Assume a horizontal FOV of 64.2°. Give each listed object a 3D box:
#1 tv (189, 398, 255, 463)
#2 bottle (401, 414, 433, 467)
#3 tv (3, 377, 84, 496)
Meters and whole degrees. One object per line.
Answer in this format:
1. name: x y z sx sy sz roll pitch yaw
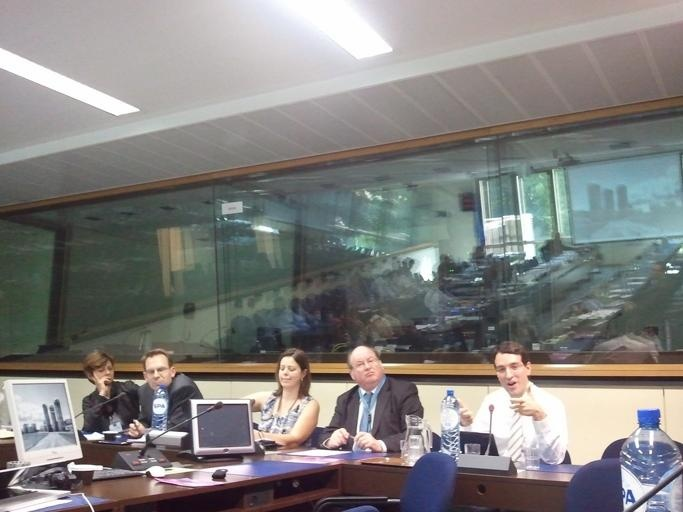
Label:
1. tv: -0.779 1.039 3.330 0.169 0.313 0.466 -24 -28 31
2. bottle: 0.417 1.039 3.105 0.311 0.243 0.197 4 -12 4
3. tv: -1.482 0.808 2.727 0.214 0.412 0.357 -5 -7 16
